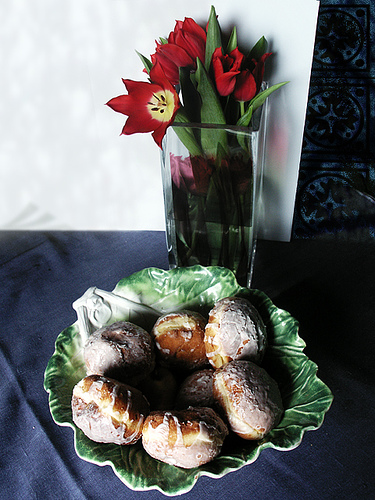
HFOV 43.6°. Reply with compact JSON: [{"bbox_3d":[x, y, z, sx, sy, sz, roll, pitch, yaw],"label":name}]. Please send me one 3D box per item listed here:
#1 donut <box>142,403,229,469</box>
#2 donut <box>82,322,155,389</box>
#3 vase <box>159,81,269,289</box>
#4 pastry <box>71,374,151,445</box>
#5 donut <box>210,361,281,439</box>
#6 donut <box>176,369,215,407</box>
[{"bbox_3d":[-0.003,0.143,0.363,0.082,0.037,0.078,7,-12,-16],"label":"donut"},{"bbox_3d":[-0.056,0.087,0.410,0.060,0.029,0.055,-9,38,-29],"label":"donut"},{"bbox_3d":[0.035,-0.070,0.558,0.122,0.250,0.092,4,26,11],"label":"vase"},{"bbox_3d":[-0.055,0.124,0.357,0.062,0.056,0.040,-9,31,-14],"label":"pastry"},{"bbox_3d":[0.044,0.112,0.352,0.052,0.026,0.052,-10,63,-56],"label":"donut"},{"bbox_3d":[0.008,0.116,0.390,0.031,0.018,0.023,-39,17,13],"label":"donut"}]
